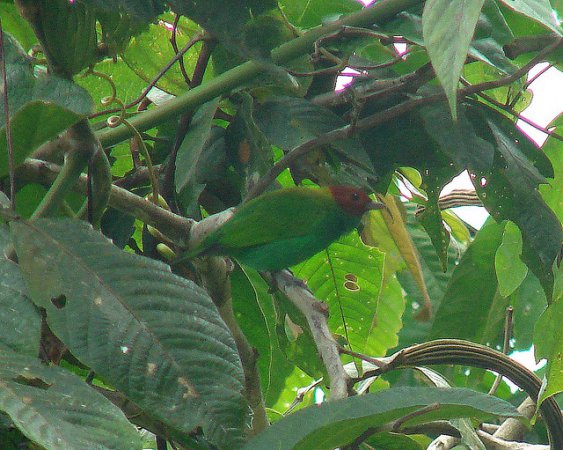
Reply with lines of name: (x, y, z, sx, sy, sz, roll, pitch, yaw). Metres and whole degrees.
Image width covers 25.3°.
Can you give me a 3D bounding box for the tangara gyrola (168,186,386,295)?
tangara gyrola: (-0.004, 0.004, 0.905, 0.154, 0.074, 0.055, 2, -8, -1)
